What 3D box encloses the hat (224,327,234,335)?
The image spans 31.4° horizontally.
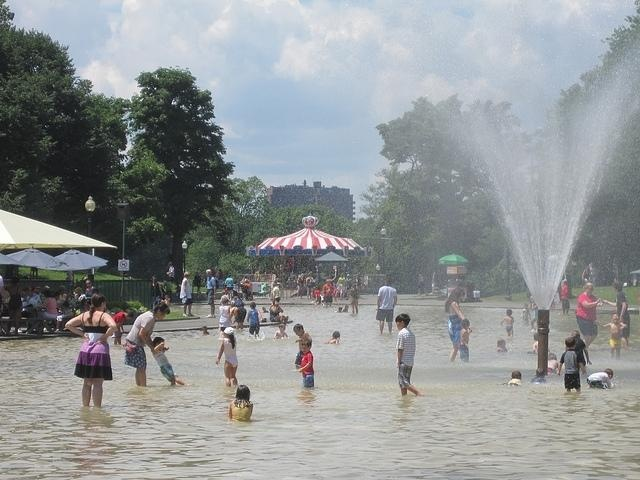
[{"bbox_3d":[-2.885,2.853,35.806,0.290,0.213,0.616,1,-6,-8],"label":"hat"}]

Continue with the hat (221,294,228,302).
[{"bbox_3d":[-3.748,2.291,44.242,0.216,0.225,0.290,2,1,-2],"label":"hat"}]
